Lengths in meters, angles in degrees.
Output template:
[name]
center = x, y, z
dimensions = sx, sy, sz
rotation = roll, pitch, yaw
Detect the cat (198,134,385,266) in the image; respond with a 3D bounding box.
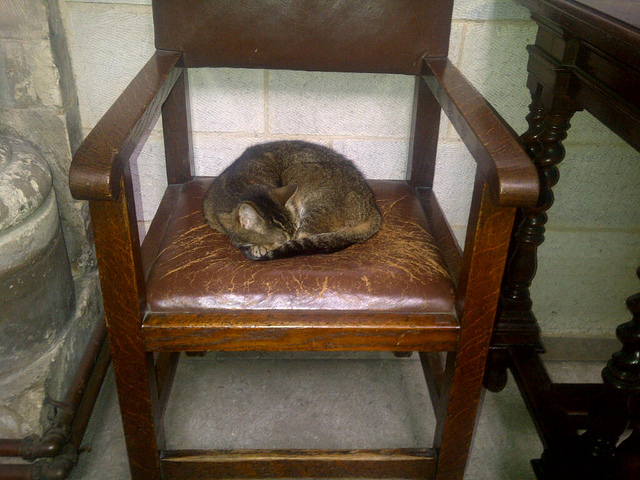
[cat]
center = -0.075, -0.126, 1.524
dimensions = 0.498, 0.139, 0.415
rotation = 29, 57, 33
